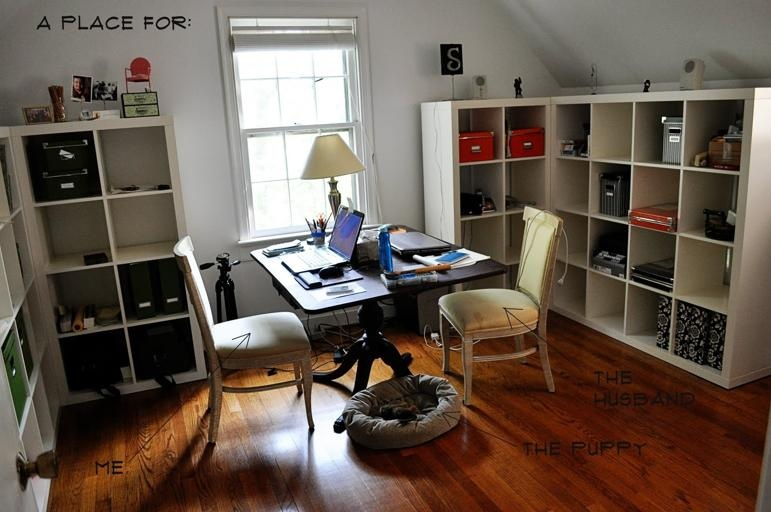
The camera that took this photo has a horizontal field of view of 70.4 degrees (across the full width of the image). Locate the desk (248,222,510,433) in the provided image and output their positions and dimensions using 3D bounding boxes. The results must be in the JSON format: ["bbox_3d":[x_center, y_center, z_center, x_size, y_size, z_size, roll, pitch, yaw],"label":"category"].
[{"bbox_3d":[-0.328,0.270,3.778,1.211,0.723,1.213,-12,20,-29],"label":"desk"}]

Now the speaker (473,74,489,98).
[{"bbox_3d":[0.832,-1.502,4.832,0.093,0.195,0.314,0,18,16],"label":"speaker"}]

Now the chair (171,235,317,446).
[{"bbox_3d":[-0.923,0.515,3.636,0.785,1.154,0.618,-4,13,-13],"label":"chair"}]

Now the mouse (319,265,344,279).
[{"bbox_3d":[-0.362,0.104,3.621,0.119,0.052,0.085,-13,15,-30],"label":"mouse"}]

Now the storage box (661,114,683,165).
[{"bbox_3d":[2.014,-0.813,3.838,0.067,0.319,0.172,-6,17,-2],"label":"storage box"}]

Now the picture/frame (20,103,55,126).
[{"bbox_3d":[-2.385,-0.968,3.741,0.173,0.118,0.222,-15,20,-28],"label":"picture/frame"}]

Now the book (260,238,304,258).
[{"bbox_3d":[-0.781,-0.054,4.129,0.177,0.046,0.177,-14,18,-25],"label":"book"}]

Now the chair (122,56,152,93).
[{"bbox_3d":[-1.826,-1.334,4.024,0.167,0.225,0.159,-10,15,-35],"label":"chair"}]

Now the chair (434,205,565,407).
[{"bbox_3d":[0.789,0.321,3.823,0.742,1.198,0.673,-2,14,-2],"label":"chair"}]

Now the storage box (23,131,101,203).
[{"bbox_3d":[-2.251,-0.622,3.919,0.511,0.523,0.514,-3,11,-13],"label":"storage box"}]

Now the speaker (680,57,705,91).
[{"bbox_3d":[2.122,-1.267,3.789,0.132,0.199,0.265,5,20,29],"label":"speaker"}]

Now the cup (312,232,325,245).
[{"bbox_3d":[-0.513,-0.133,4.148,0.090,0.075,0.097,-1,6,0],"label":"cup"}]

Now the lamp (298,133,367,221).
[{"bbox_3d":[-0.391,-0.507,4.111,0.492,0.761,0.479,-8,3,-35],"label":"lamp"}]
